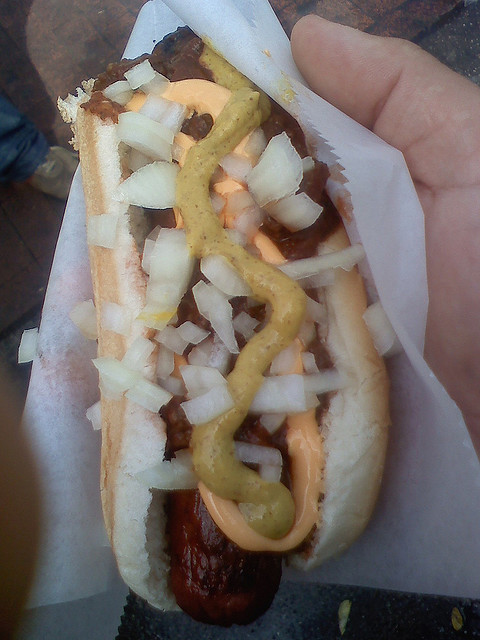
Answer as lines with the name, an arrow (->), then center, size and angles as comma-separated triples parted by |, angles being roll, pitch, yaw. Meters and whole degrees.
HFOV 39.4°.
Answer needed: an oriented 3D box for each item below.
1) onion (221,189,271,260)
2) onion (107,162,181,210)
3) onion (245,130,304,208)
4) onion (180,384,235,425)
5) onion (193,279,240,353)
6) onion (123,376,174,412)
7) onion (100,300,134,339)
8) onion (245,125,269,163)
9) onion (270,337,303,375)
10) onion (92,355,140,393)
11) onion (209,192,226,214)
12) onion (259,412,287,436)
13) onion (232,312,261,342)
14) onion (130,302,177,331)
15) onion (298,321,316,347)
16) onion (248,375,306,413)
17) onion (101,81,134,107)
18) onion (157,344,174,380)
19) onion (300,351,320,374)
onion -> 0.004, -0.276, 1.919 | 0.176, 0.060, 0.176 | 1, 95, 12
onion -> -0.258, -0.386, 1.941 | 0.184, 0.137, 0.136 | -7, 81, 1
onion -> 0.097, -0.414, 1.862 | 0.194, 0.064, 0.179 | 17, 93, -5
onion -> -0.079, 0.228, 1.792 | 0.137, 0.041, 0.080 | -23, 81, -2
onion -> -0.058, -0.020, 1.905 | 0.137, 0.048, 0.181 | -23, 83, 3
onion -> -0.259, 0.210, 1.914 | 0.126, 0.035, 0.081 | 25, 81, 3
onion -> -0.369, -0.007, 2.015 | 0.110, 0.035, 0.097 | 9, 87, 12
onion -> 0.048, -0.515, 1.982 | 0.080, 0.026, 0.098 | 7, 86, -23
onion -> 0.130, 0.100, 1.890 | 0.092, 0.030, 0.098 | -14, 104, -32
onion -> -0.365, 0.159, 1.984 | 0.136, 0.040, 0.084 | 35, 79, 11
onion -> -0.059, -0.334, 1.918 | 0.057, 0.019, 0.057 | -7, 88, -8
onion -> 0.090, 0.281, 1.904 | 0.062, 0.047, 0.074 | 40, 84, 8
onion -> 0.014, 0.013, 1.910 | 0.089, 0.025, 0.076 | 17, 78, -12
onion -> -0.239, -0.019, 1.916 | 0.079, 0.027, 0.084 | 28, 82, 6
onion -> 0.199, 0.039, 1.958 | 0.060, 0.020, 0.069 | 0, 83, -17
onion -> 0.103, 0.201, 1.851 | 0.152, 0.032, 0.103 | -1, 80, 2
onion -> -0.382, -0.726, 2.144 | 0.078, 0.035, 0.086 | -41, 82, -5
onion -> -0.219, 0.122, 1.960 | 0.068, 0.019, 0.084 | -6, 86, 7
onion -> 0.200, 0.120, 1.927 | 0.064, 0.018, 0.054 | 0, 75, -27
